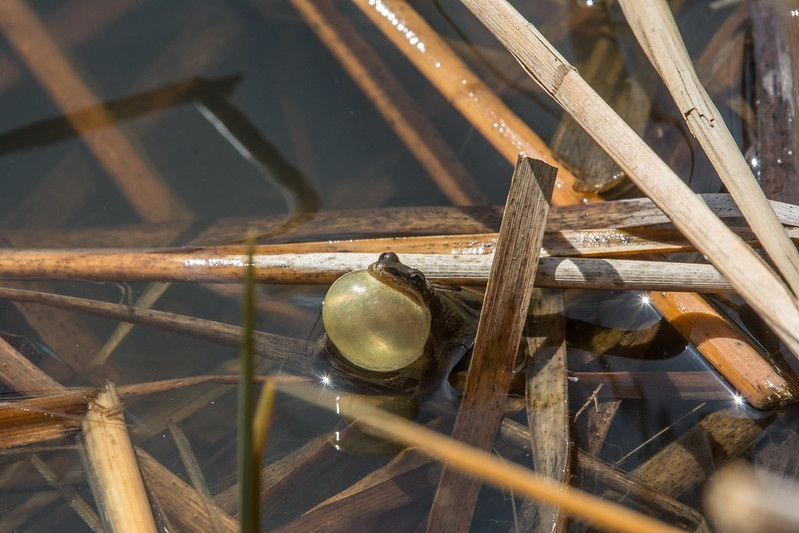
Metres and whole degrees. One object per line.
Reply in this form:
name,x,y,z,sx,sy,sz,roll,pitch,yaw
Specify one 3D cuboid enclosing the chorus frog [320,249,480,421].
chorus frog,-0.021,0.240,3.922,0.452,0.282,0.625,-20,-45,18
